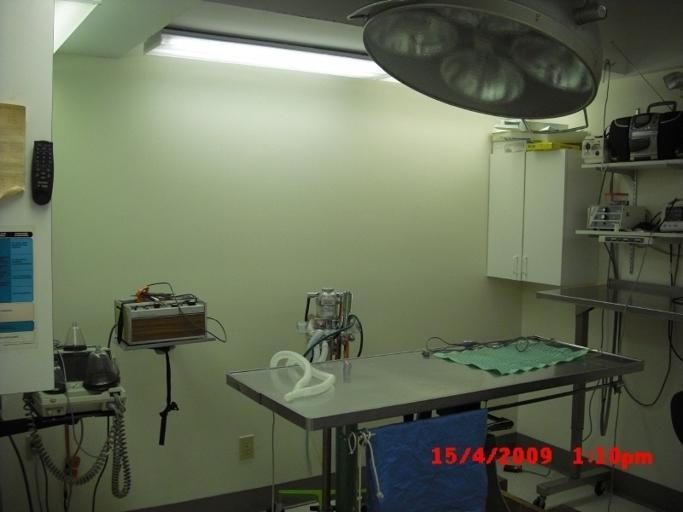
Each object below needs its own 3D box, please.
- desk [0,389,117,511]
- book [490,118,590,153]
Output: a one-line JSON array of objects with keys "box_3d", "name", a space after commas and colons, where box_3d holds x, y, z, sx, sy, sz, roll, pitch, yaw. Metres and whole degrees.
[{"box_3d": [-1.385, 0.980, 3.011, 0.555, 0.715, 0.644, 0, 6, -20], "name": "desk"}, {"box_3d": [1.445, -0.876, 4.136, 0.572, 0.237, 0.965, 3, 6, 1], "name": "book"}]
